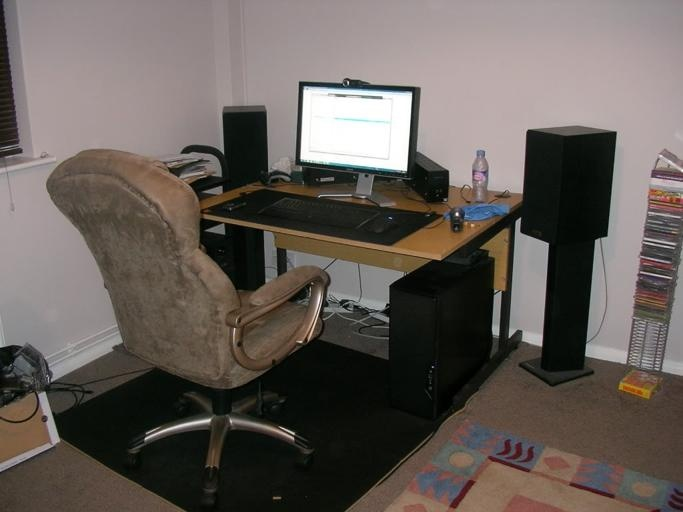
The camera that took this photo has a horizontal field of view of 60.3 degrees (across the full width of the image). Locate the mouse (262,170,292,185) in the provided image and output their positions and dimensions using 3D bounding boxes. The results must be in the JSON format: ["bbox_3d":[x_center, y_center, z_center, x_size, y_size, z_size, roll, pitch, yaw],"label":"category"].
[{"bbox_3d":[-0.370,-0.452,3.300,0.140,0.061,0.081,-9,19,-12],"label":"mouse"}]

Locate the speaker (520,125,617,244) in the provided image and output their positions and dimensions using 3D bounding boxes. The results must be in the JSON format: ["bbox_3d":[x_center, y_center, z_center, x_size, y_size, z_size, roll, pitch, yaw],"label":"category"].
[{"bbox_3d":[1.058,-0.326,2.772,0.408,0.511,0.210,7,22,20],"label":"speaker"}]

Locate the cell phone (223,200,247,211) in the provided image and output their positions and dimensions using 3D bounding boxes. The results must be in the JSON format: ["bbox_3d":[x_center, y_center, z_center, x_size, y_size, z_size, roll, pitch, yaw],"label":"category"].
[{"bbox_3d":[-0.530,-0.252,2.900,0.049,0.022,0.093,11,21,29],"label":"cell phone"}]

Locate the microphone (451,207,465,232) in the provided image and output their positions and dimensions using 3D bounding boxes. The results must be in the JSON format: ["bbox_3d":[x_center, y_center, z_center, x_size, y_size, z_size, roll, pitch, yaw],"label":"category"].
[{"bbox_3d":[0.517,-0.172,2.642,0.066,0.093,0.148,4,21,12],"label":"microphone"}]

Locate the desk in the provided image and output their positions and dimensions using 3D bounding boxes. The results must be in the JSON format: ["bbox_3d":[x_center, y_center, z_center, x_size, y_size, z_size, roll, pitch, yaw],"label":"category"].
[{"bbox_3d":[0.029,0.104,3.118,1.586,0.777,1.208,9,18,36],"label":"desk"}]

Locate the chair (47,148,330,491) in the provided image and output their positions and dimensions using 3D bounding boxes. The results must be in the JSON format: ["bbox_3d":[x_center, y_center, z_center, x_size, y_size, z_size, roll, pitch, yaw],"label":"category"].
[{"bbox_3d":[-0.567,0.246,2.506,0.844,1.383,0.964,12,19,30],"label":"chair"}]

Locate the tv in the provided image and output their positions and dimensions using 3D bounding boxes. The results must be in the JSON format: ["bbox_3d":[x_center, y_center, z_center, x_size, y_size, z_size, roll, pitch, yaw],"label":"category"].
[{"bbox_3d":[0.083,-0.578,3.016,0.620,0.582,0.195,12,29,22],"label":"tv"}]
